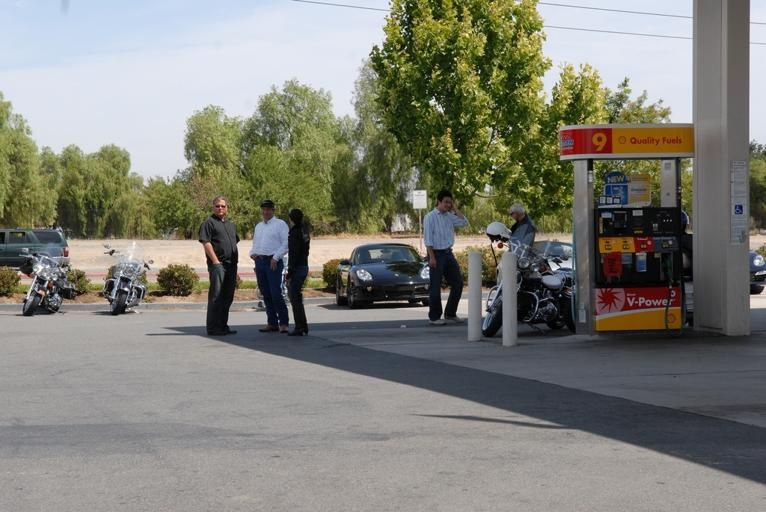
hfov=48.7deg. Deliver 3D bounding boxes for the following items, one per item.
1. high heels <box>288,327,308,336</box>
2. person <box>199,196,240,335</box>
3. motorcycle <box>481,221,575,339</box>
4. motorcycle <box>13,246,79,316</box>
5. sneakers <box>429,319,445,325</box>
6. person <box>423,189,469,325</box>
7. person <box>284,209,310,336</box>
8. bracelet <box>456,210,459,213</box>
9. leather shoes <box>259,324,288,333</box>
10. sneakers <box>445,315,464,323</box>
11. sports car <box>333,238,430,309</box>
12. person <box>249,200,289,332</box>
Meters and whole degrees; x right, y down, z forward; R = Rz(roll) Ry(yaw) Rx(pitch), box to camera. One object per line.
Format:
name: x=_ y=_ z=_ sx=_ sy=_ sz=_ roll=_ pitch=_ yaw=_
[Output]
high heels: x=-1.502 y=1.342 z=15.080 sx=0.352 sy=0.148 sz=0.143 roll=4 pitch=-2 yaw=-9
person: x=-2.979 y=0.169 z=15.459 sx=0.682 sy=2.516 sz=0.926 roll=0 pitch=-2 yaw=-9
motorcycle: x=2.445 y=0.450 z=14.843 sx=1.249 sy=1.491 sz=2.207 roll=-1 pitch=-5 yaw=45
motorcycle: x=-7.672 y=0.606 z=19.451 sx=0.841 sy=1.010 sz=1.667 roll=13 pitch=-2 yaw=2
sneakers: x=1.050 y=1.268 z=16.466 sx=0.287 sy=0.123 sz=0.107 roll=-3 pitch=-2 yaw=2
person: x=1.207 y=-0.008 z=16.704 sx=0.813 sy=2.695 sz=1.446 roll=0 pitch=-2 yaw=4
person: x=-1.515 y=0.278 z=14.995 sx=0.378 sy=2.250 sz=0.883 roll=0 pitch=-2 yaw=-7
bracelet: x=1.434 y=-0.864 z=16.452 sx=0.084 sy=0.020 sz=0.022 roll=34 pitch=19 yaw=-40
leather shoes: x=-1.998 y=1.365 z=15.691 sx=0.546 sy=0.175 sz=0.200 roll=9 pitch=-11 yaw=-33
sneakers: x=1.387 y=1.226 z=16.530 sx=0.374 sy=0.184 sz=0.143 roll=0 pitch=6 yaw=4
sports car: x=0.014 y=0.435 z=20.669 sx=1.931 sy=1.639 sz=2.512 roll=0 pitch=-2 yaw=-15
person: x=-2.063 y=0.181 z=15.595 sx=0.694 sy=2.432 sz=0.984 roll=1 pitch=-2 yaw=-28
